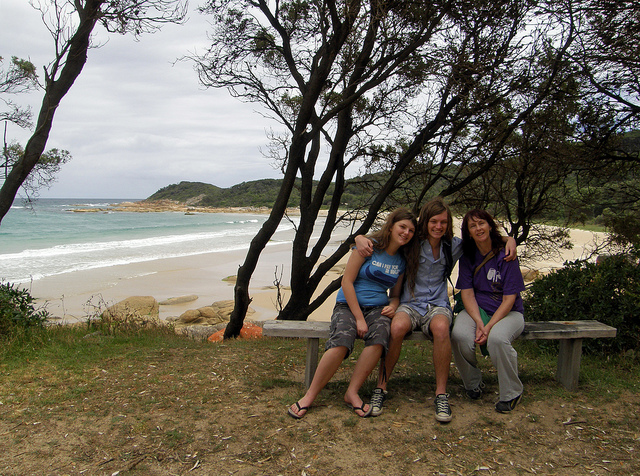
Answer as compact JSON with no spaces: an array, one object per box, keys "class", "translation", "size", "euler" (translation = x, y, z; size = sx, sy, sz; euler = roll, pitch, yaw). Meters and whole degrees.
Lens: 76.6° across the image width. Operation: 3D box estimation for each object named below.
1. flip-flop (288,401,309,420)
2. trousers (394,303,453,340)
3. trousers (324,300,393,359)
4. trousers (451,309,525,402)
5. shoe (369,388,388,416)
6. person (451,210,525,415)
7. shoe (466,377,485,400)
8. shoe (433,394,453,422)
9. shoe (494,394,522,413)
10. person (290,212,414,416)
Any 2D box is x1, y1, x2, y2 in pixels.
[{"class":"flip-flop","translation":[-0.238,1.786,4.219],"size":[0.215,0.119,0.144],"euler":[1,8,2]},{"class":"trousers","translation":[1.122,0.877,4.613],"size":[0.505,0.204,0.506],"euler":[7,29,0]},{"class":"trousers","translation":[0.417,1.032,4.627],"size":[0.852,0.338,1.355],"euler":[0,9,-4]},{"class":"trousers","translation":[1.883,1.288,4.546],"size":[0.738,0.876,0.475],"euler":[4,10,24]},{"class":"shoe","translation":[0.611,1.741,4.346],"size":[0.149,0.180,0.321],"euler":[2,8,13]},{"class":"person","translation":[1.910,0.758,4.527],"size":[0.759,2.103,0.754],"euler":[4,10,21]},{"class":"shoe","translation":[1.809,1.742,4.686],"size":[0.121,0.135,0.332],"euler":[0,-5,25]},{"class":"shoe","translation":[1.261,1.755,4.148],"size":[0.120,0.126,0.323],"euler":[-2,-5,7]},{"class":"shoe","translation":[2.064,1.779,4.388],"size":[0.355,0.144,0.122],"euler":[-1,-5,-28]},{"class":"person","translation":[0.389,0.759,4.499],"size":[0.809,2.070,1.317],"euler":[8,12,40]}]
